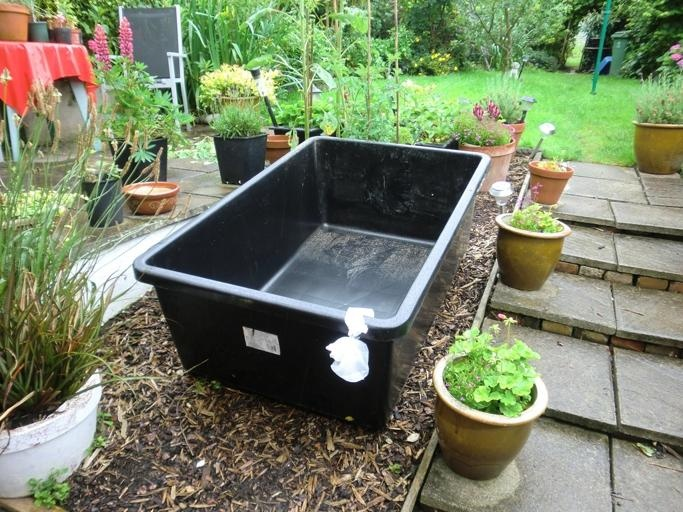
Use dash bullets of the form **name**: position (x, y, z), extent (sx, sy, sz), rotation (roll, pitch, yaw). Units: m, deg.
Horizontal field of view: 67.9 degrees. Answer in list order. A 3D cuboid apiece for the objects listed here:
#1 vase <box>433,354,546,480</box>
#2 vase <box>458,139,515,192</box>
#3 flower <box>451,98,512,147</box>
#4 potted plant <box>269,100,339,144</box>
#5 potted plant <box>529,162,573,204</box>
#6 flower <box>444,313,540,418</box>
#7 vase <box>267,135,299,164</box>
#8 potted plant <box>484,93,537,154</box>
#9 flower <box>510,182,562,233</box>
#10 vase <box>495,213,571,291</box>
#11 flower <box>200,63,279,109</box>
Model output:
- **vase**: position (0.652, 0.736, 2.254), extent (0.477, 0.374, 0.484), rotation (5, 17, 26)
- **vase**: position (1.222, -0.783, 4.333), extent (0.496, 0.397, 0.482), rotation (-21, 29, -34)
- **flower**: position (1.161, -1.086, 4.189), extent (0.478, 0.307, 0.488), rotation (-11, 29, -23)
- **potted plant**: position (-0.420, -1.331, 4.823), extent (0.476, 0.253, 0.714), rotation (13, 34, 16)
- **potted plant**: position (1.465, -0.545, 3.657), extent (0.313, 0.240, 0.307), rotation (-5, 24, -16)
- **flower**: position (0.635, 0.490, 2.195), extent (0.387, 0.323, 0.391), rotation (8, 39, 10)
- **vase**: position (-0.561, -0.950, 4.577), extent (0.314, 0.236, 0.313), rotation (4, 21, 7)
- **potted plant**: position (1.591, -1.226, 4.774), extent (0.319, 0.523, 0.313), rotation (21, 26, 26)
- **flower**: position (1.134, -0.222, 2.937), extent (0.287, 0.115, 0.276), rotation (12, 28, 21)
- **vase**: position (1.139, -0.018, 3.087), extent (0.445, 0.384, 0.437), rotation (0, 22, -5)
- **flower**: position (-1.201, -1.876, 5.823), extent (0.906, 0.408, 0.897), rotation (9, 15, 37)
